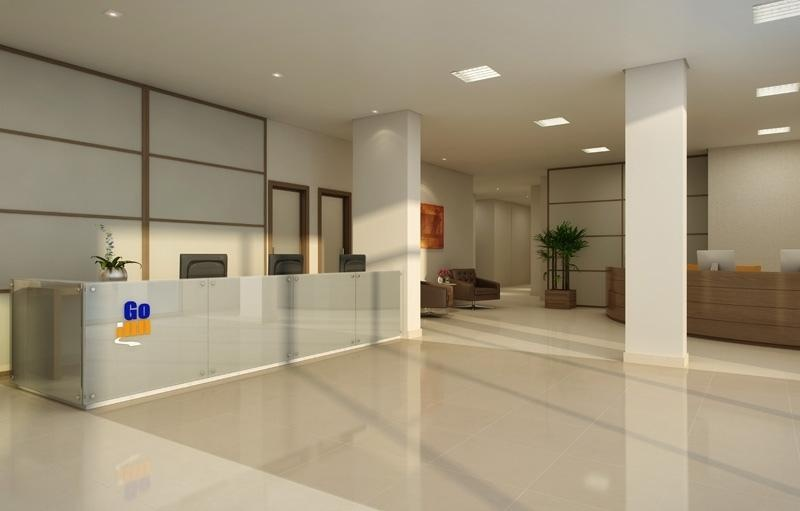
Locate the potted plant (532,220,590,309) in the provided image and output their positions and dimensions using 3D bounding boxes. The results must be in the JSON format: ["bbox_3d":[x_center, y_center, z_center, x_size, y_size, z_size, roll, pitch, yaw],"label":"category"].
[{"bbox_3d":[4.729,0.223,14.215,1.319,2.451,2.091,1,7,10],"label":"potted plant"}]

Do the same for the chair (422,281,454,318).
[{"bbox_3d":[0.953,1.004,12.205,0.701,0.968,0.972,-2,-2,17],"label":"chair"}]

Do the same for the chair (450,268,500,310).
[{"bbox_3d":[2.079,0.924,13.632,1.442,1.066,1.480,0,1,15],"label":"chair"}]

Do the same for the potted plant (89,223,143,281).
[{"bbox_3d":[-3.767,0.026,6.352,0.617,0.625,0.607,-4,2,-15],"label":"potted plant"}]

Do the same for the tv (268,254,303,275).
[{"bbox_3d":[-1.853,0.232,7.693,0.294,0.510,0.592,1,0,41],"label":"tv"}]
